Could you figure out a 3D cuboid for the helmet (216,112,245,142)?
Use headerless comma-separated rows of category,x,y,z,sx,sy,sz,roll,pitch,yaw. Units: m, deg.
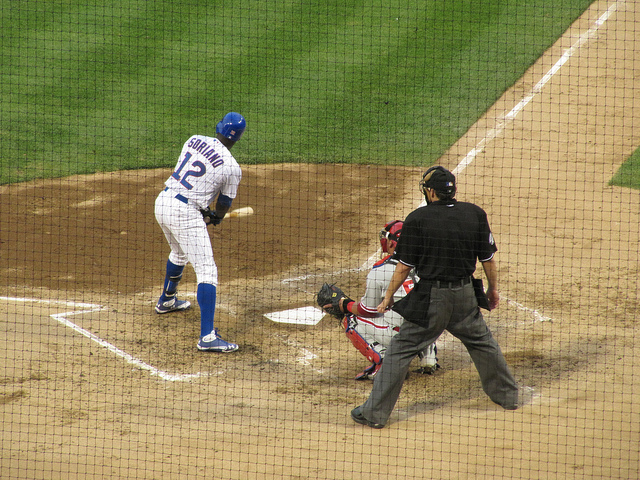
helmet,-1.096,-1.404,15.599,0.341,0.356,0.260,5,29,-5

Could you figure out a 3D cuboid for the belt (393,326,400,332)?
belt,0.901,1.029,14.850,0.073,0.057,0.013,4,70,12
